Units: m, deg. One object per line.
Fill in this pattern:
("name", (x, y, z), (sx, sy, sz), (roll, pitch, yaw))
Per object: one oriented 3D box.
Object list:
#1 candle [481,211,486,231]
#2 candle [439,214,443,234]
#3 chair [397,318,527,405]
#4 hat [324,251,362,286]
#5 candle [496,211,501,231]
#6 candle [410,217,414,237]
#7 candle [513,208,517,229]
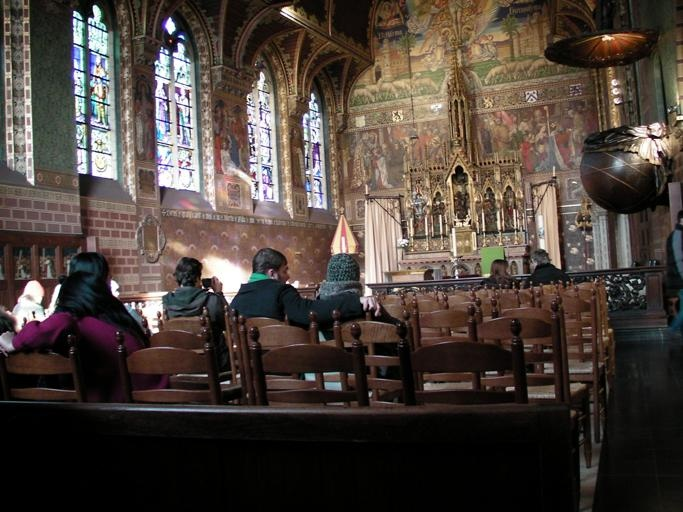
("candle", (3.853, -0.936, 17.787), (0.098, 0.576, 0.377), (2, 3, 20))
("candle", (2.736, -0.857, 18.005), (0.107, 0.551, 0.156), (2, 3, 9))
("chair", (0.500, 0.430, 2.596), (0.429, 0.391, 0.750), (2, 3, 10))
("hat", (0.008, 0.075, 4.220), (0.185, 0.203, 0.205), (1, 4, 17))
("candle", (4.229, -0.963, 17.607), (0.084, 0.573, 0.266), (1, 3, 3))
("candle", (1.954, -0.822, 18.237), (0.100, 0.501, 0.186), (2, 3, 6))
("candle", (4.671, -1.000, 17.615), (0.077, 0.538, 0.268), (2, 3, 6))
